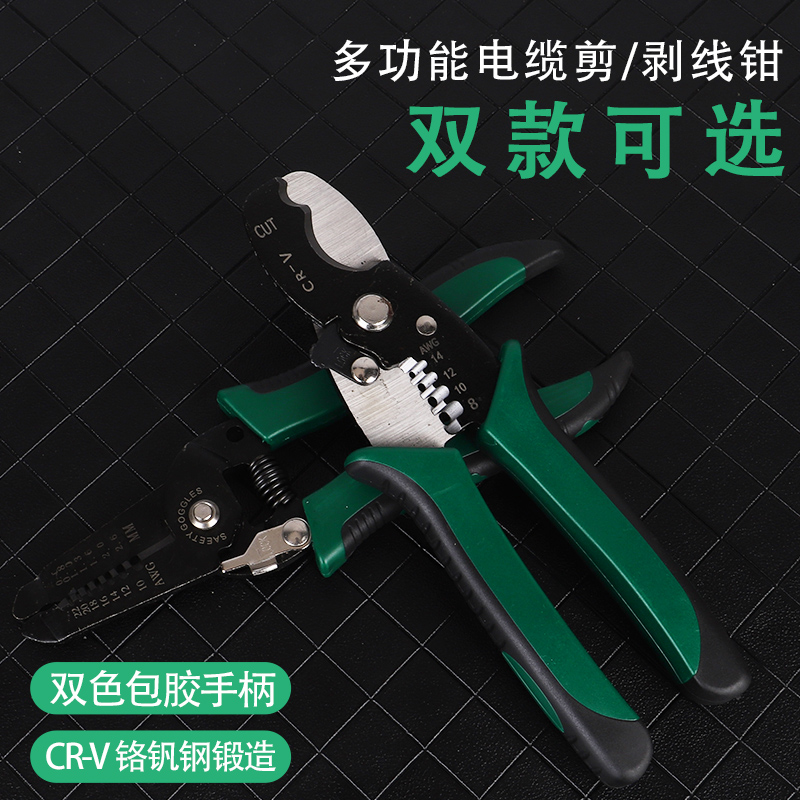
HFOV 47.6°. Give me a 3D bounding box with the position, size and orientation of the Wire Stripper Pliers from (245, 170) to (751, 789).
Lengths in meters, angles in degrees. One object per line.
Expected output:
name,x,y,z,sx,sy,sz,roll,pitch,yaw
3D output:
Wire Stripper Pliers,0.072,0.078,1.186,0.339,0.107,0.990,-44,77,-12
